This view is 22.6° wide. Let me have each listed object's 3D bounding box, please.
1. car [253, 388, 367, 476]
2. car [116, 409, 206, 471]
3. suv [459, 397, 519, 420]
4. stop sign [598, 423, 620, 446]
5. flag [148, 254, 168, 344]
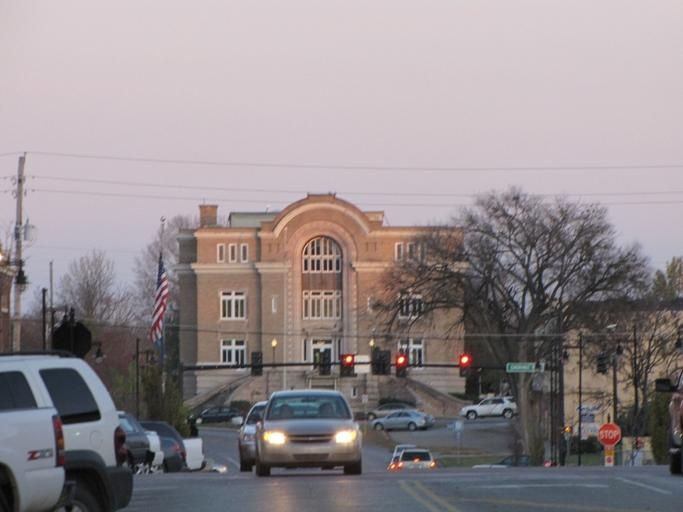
[{"bbox_3d":[-1.072,6.204,58.879,3.485,2.755,1.885,0,-8,-5],"label":"car"},{"bbox_3d":[-6.823,7.044,63.270,1.616,1.292,3.523,-1,-3,12],"label":"car"},{"bbox_3d":[10.019,10.481,115.494,3.508,1.407,1.650,1,-5,8],"label":"suv"},{"bbox_3d":[13.174,8.852,84.047,0.955,1.029,1.100,-1,-9,5],"label":"stop sign"},{"bbox_3d":[-9.203,2.628,89.077,0.930,5.666,0.685,2,6,25],"label":"flag"}]
